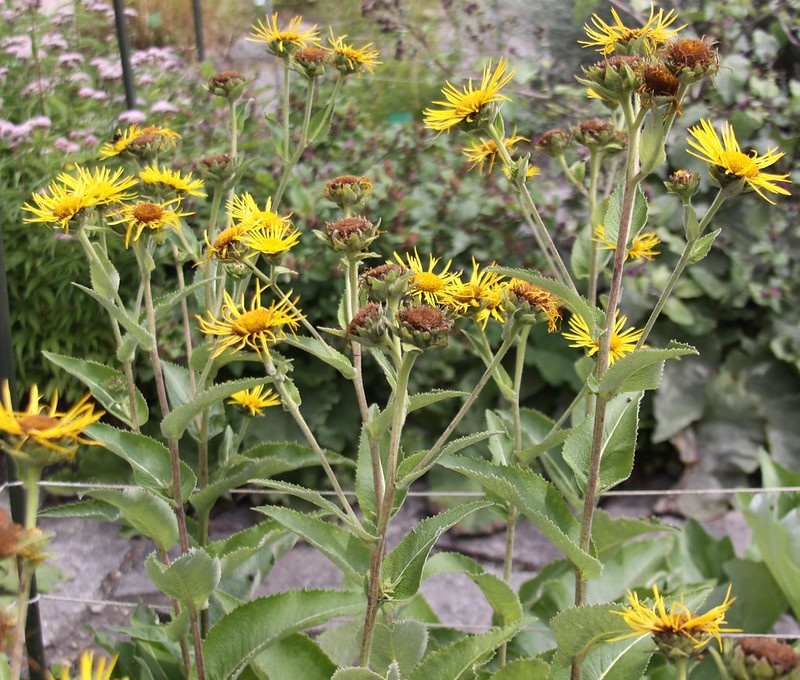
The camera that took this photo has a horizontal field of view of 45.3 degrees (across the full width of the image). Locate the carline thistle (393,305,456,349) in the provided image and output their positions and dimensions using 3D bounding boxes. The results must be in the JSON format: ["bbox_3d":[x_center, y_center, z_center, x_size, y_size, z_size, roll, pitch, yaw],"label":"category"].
[{"bbox_3d":[0.043,-0.027,1.691,0.080,0.043,0.080,20,26,20],"label":"carline thistle"}]

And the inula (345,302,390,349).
[{"bbox_3d":[-0.056,-0.026,1.736,0.078,0.063,0.076,3,31,-2],"label":"inula"}]

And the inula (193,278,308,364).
[{"bbox_3d":[-0.287,-0.029,1.850,0.159,0.201,0.135,-2,5,-16],"label":"inula"}]

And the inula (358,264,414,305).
[{"bbox_3d":[-0.020,-0.095,1.777,0.097,0.089,0.099,-5,-5,-16],"label":"inula"}]

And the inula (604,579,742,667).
[{"bbox_3d":[0.467,0.492,1.666,0.224,0.131,0.204,5,-10,-32],"label":"inula"}]
